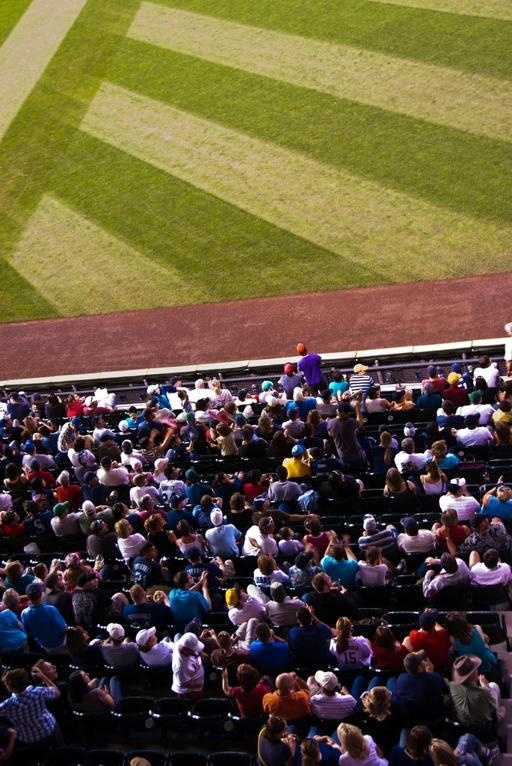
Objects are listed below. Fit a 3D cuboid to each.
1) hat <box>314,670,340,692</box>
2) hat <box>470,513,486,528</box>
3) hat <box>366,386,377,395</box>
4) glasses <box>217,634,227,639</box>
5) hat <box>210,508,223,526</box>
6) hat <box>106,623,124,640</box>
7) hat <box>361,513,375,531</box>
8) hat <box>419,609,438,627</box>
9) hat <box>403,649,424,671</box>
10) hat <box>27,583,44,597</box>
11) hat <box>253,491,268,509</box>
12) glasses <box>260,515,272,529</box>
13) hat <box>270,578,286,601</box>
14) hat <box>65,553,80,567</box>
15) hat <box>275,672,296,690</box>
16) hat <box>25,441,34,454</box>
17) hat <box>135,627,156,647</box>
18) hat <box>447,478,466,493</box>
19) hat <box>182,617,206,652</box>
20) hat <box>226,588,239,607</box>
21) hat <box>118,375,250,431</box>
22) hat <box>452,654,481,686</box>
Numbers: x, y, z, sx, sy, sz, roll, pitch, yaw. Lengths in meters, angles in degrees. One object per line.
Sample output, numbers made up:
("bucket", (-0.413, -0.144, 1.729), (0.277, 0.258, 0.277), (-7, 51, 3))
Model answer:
("hat", (0.644, 2.669, 11.796), (0.144, 0.107, 0.209), (-6, 20, -5))
("hat", (2.212, 1.362, 13.020), (0.156, 0.081, 0.112), (-42, 36, -12))
("hat", (1.474, 0.074, 16.725), (0.116, 0.112, 0.087), (11, 1, -19))
("glasses", (-0.317, 2.340, 12.196), (0.052, 0.038, 0.058), (-1, 16, 4))
("hat", (-0.405, 1.408, 13.937), (0.137, 0.170, 0.174), (-3, -13, -1))
("hat", (-1.347, 2.395, 12.677), (0.159, 0.194, 0.273), (1, 4, -5))
("hat", (1.156, 1.401, 13.363), (0.123, 0.152, 0.156), (6, -13, 2))
("hat", (1.583, 2.154, 12.041), (0.143, 0.163, 0.171), (-5, -42, 8))
("hat", (1.417, 2.484, 11.777), (0.181, 0.188, 0.309), (2, 4, 7))
("hat", (-2.198, 2.046, 13.024), (0.112, 0.127, 0.138), (4, 35, -11))
("hat", (0.047, 1.257, 14.165), (0.138, 0.164, 0.173), (0, -9, 32))
("glasses", (0.111, 1.435, 13.623), (0.093, 0.117, 0.122), (8, -7, 35))
("hat", (0.222, 1.993, 12.654), (0.142, 0.175, 0.176), (-11, -40, 2))
("hat", (-1.914, 1.836, 13.611), (0.117, 0.142, 0.150), (-13, -21, 36))
("hat", (0.272, 2.692, 11.886), (0.185, 0.205, 0.335), (2, 4, 1))
("hat", (-2.907, 0.818, 16.923), (0.119, 0.138, 0.143), (-4, -7, 1))
("hat", (-1.046, 2.416, 12.476), (0.171, 0.187, 0.149), (1, 4, -8))
("hat", (2.123, 1.080, 13.837), (0.134, 0.153, 0.168), (-6, -42, 22))
("hat", (-0.584, 2.419, 12.676), (0.166, 0.153, 0.310), (12, 16, 8))
("hat", (-0.217, 2.087, 12.736), (0.132, 0.229, 0.238), (1, 4, -3))
("hat", (-0.963, 0.425, 18.402), (0.945, 0.743, 1.260), (10, 20, 34))
("hat", (1.862, 2.530, 11.630), (0.223, 0.245, 0.144), (2, 4, 7))
